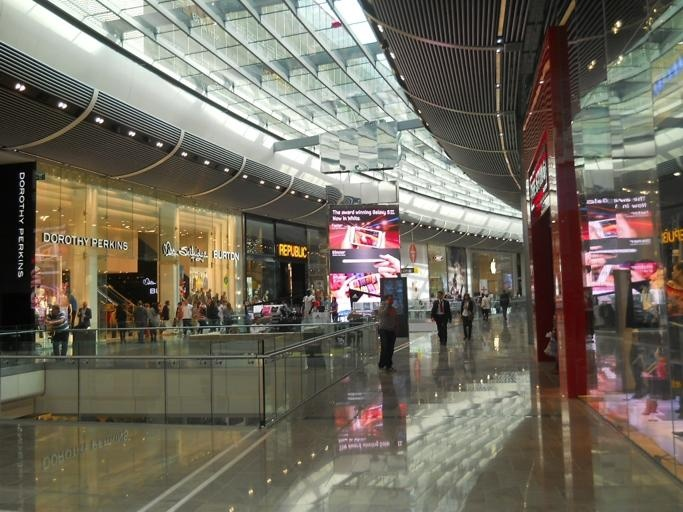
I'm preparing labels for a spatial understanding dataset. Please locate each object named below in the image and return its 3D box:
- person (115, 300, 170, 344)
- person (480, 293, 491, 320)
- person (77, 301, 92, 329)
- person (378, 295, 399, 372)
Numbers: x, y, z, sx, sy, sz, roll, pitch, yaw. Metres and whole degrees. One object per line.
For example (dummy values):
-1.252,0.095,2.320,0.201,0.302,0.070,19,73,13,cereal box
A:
-6.906,2.217,17.656,1.447,1.339,0.509,0,3,10,person
7.874,2.782,27.981,0.415,1.520,1.623,-4,-3,15,person
-8.915,2.047,17.893,0.450,0.878,0.423,-2,-3,-7,person
1.049,1.734,11.793,0.440,1.688,0.692,-3,-3,4,person
